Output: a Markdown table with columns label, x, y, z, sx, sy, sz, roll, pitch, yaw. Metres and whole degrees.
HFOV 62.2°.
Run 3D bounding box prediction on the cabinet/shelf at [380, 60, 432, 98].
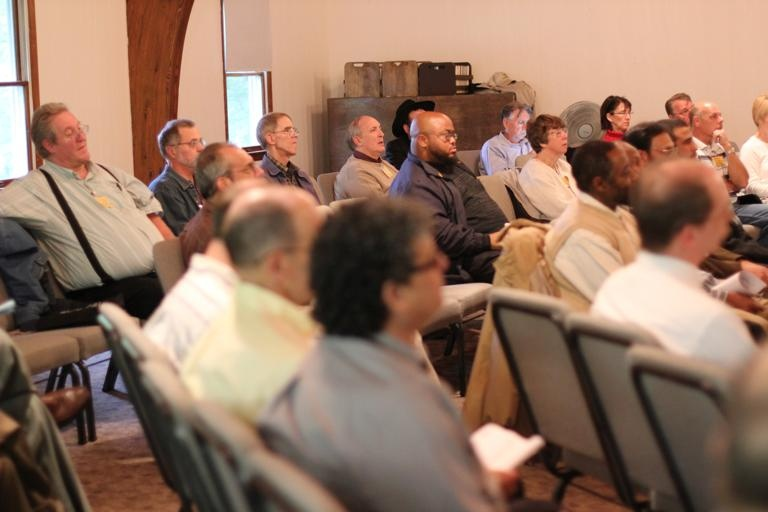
| label | x | y | z | sx | sy | sz | roll | pitch | yaw |
| --- | --- | --- | --- | --- | --- | --- | --- | --- | --- |
| cabinet/shelf | 0.233 | -2.158 | 7.814 | 0.523 | 0.427 | 0.276 | -1 | 14 | -2 |

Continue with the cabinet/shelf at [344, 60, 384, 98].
| label | x | y | z | sx | sy | sz | roll | pitch | yaw |
| --- | --- | --- | --- | --- | --- | --- | --- | --- | --- |
| cabinet/shelf | -0.252 | -2.188 | 7.887 | 0.449 | 0.452 | 0.115 | -3 | 5 | 12 |

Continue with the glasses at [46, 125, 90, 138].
| label | x | y | z | sx | sy | sz | roll | pitch | yaw |
| --- | --- | --- | --- | --- | --- | --- | --- | --- | --- |
| glasses | -1.981 | -0.772 | 3.941 | 0.121 | 0.040 | 0.119 | -3 | 3 | 38 |
